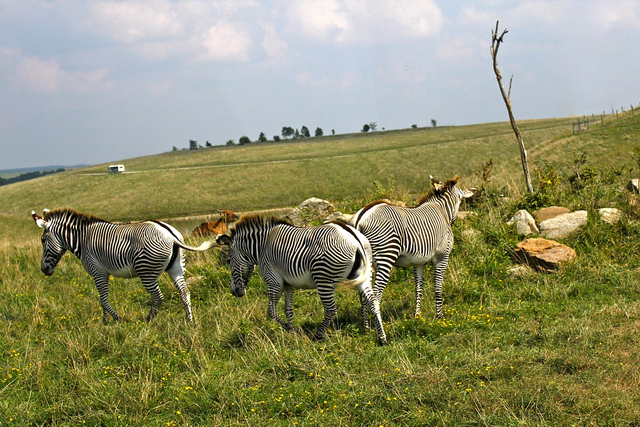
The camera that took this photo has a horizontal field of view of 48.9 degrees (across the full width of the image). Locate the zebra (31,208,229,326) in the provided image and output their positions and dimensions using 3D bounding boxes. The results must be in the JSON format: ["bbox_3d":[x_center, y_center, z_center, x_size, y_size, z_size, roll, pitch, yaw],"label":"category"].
[{"bbox_3d":[-5.402,1.486,19.651,5.281,3.716,1.408,-5,0,7],"label":"zebra"}]

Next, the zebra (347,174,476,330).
[{"bbox_3d":[2.698,0.915,19.543,4.767,3.889,1.498,-5,2,-42],"label":"zebra"}]

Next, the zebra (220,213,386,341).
[{"bbox_3d":[-0.567,1.596,18.301,4.732,3.137,1.489,-2,-1,30],"label":"zebra"}]
